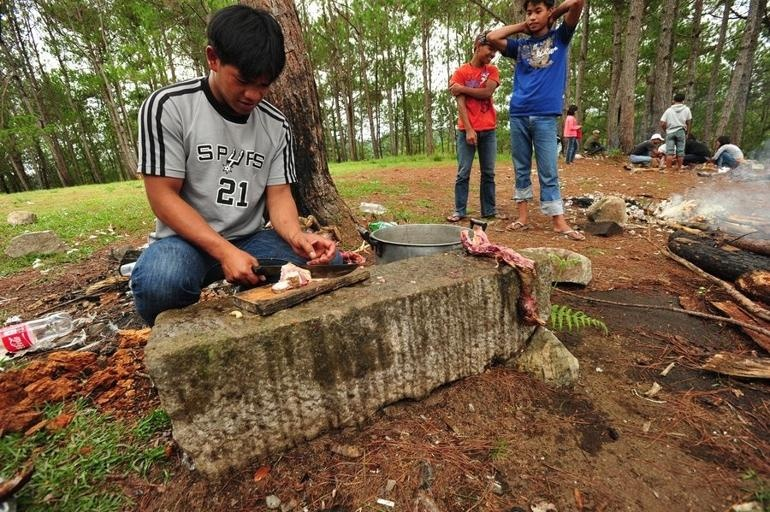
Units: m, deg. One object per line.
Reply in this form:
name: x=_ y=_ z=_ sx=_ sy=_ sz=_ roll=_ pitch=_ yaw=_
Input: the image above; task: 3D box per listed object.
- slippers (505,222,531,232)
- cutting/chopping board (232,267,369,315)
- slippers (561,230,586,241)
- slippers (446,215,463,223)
slippers: x=1.901 y=-0.405 z=6.418 sx=0.136 sy=0.091 sz=0.344 roll=-3 pitch=0 yaw=45
cutting/chopping board: x=-0.692 y=0.284 z=3.775 sx=1.106 sy=0.152 sz=0.309 roll=-13 pitch=22 yaw=-20
slippers: x=2.522 y=-0.278 z=6.019 sx=0.131 sy=0.073 sz=0.296 roll=-5 pitch=9 yaw=-11
slippers: x=1.025 y=-0.538 z=6.673 sx=0.245 sy=0.097 sz=0.096 roll=-1 pitch=4 yaw=-44
